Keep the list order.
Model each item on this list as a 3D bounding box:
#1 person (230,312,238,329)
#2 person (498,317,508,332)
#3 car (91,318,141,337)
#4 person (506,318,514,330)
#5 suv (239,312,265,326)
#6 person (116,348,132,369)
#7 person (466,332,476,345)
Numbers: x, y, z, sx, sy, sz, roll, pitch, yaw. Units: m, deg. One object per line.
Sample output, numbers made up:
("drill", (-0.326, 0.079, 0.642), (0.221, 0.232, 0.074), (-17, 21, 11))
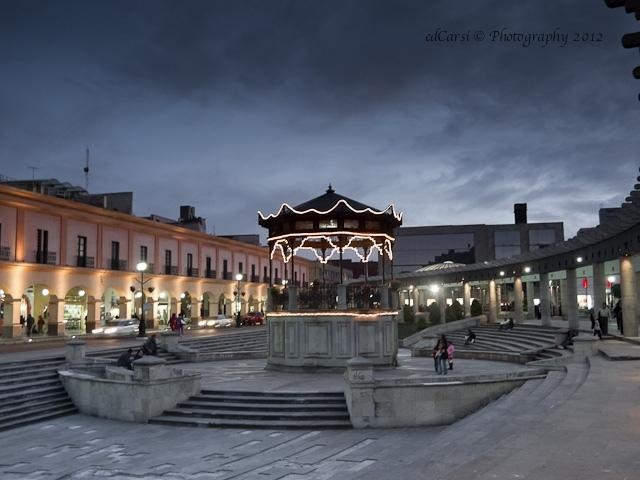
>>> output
("person", (-7.358, 6.900, 51.154), (0.855, 0.958, 0.779), (1, -11, -9))
("person", (11.744, 5.341, 37.531), (0.573, 0.726, 1.093), (-4, 1, 10))
("car", (-13.271, 5.782, 39.119), (2.355, 0.770, 1.352), (7, -11, -38))
("person", (12.096, 5.234, 37.530), (0.405, 0.654, 1.577), (-3, 1, 20))
("suv", (-6.235, 7.255, 53.861), (1.303, 0.935, 3.057), (-4, 1, 13))
("person", (-7.528, 4.560, 22.701), (0.551, 0.724, 1.305), (-5, 1, -20))
("person", (9.076, 5.860, 35.564), (0.503, 0.968, 1.623), (-4, 1, 12))
